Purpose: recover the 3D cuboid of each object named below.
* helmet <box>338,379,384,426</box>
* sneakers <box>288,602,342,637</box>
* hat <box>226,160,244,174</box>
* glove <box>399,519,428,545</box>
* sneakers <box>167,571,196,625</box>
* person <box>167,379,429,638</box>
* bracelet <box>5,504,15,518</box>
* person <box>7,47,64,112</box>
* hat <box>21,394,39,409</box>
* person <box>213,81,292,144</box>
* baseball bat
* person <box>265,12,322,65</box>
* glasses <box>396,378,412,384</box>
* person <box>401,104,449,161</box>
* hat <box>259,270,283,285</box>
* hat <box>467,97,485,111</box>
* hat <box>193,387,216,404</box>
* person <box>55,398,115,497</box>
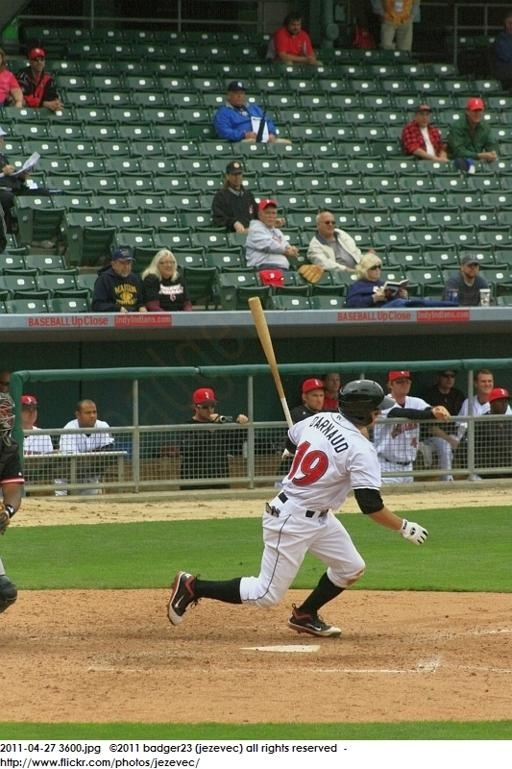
[{"bbox_3d":[0.533,0.102,6.868,0.268,0.202,0.180,-17,27,-9],"label":"helmet"},{"bbox_3d":[0.300,1.267,7.255,0.369,0.159,0.115,15,-1,-9],"label":"sneakers"},{"bbox_3d":[-0.210,-2.218,13.838,0.172,0.132,0.242,-3,9,-16],"label":"hat"},{"bbox_3d":[0.791,0.748,6.826,0.204,0.105,0.063,18,-28,-34],"label":"glove"},{"bbox_3d":[-0.388,1.094,7.067,0.164,0.298,0.108,12,1,-2],"label":"sneakers"},{"bbox_3d":[0.253,0.661,6.949,1.222,1.107,0.514,-2,1,10],"label":"person"},{"bbox_3d":[-1.292,0.662,7.083,0.050,0.032,0.064,16,19,-8],"label":"bracelet"},{"bbox_3d":[-2.661,-3.642,16.123,0.577,0.796,0.764,-16,38,-33],"label":"person"},{"bbox_3d":[-1.843,0.125,10.943,0.084,0.109,0.117,-1,-6,-26],"label":"hat"},{"bbox_3d":[-0.078,-3.229,16.505,0.699,0.901,0.826,-15,17,-30],"label":"person"},{"bbox_3d":[0.111,-0.190,11.565,0.175,1.250,0.117,-19,3,8],"label":"baseball bat"},{"bbox_3d":[0.531,-4.806,19.030,0.735,0.750,0.603,22,30,35],"label":"person"},{"bbox_3d":[1.276,-0.033,11.741,0.073,0.047,0.120,3,5,-45],"label":"glasses"},{"bbox_3d":[2.078,-3.119,16.881,0.612,0.686,0.685,-1,10,5],"label":"person"},{"bbox_3d":[0.141,-1.034,13.109,0.228,0.137,0.142,-2,0,-4],"label":"hat"},{"bbox_3d":[2.659,-3.405,16.403,0.201,0.139,0.259,2,3,-2],"label":"hat"},{"bbox_3d":[-0.455,0.094,11.417,0.139,0.095,0.178,-5,2,-25],"label":"hat"},{"bbox_3d":[-1.411,0.516,11.009,0.497,0.702,0.401,-2,0,-17],"label":"person"}]
